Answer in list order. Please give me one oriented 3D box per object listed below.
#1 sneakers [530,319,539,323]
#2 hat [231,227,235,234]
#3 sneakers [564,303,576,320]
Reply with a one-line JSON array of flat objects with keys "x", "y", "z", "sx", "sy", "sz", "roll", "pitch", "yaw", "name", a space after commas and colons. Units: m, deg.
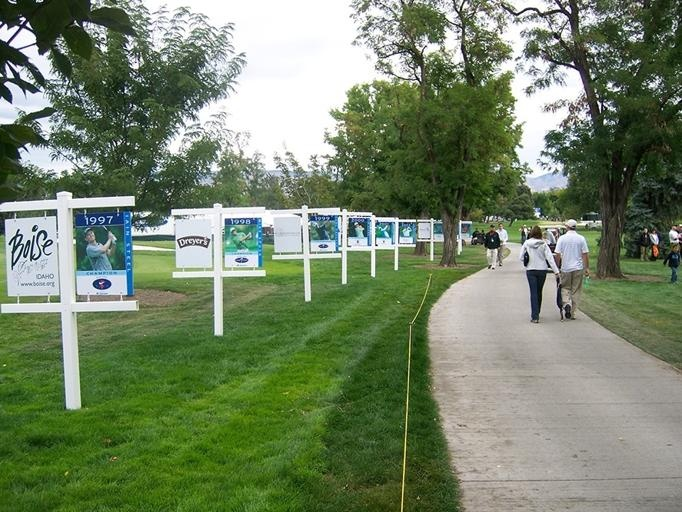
[{"x": 4.485, "y": 1.519, "z": 15.819, "sx": 0.070, "sy": 0.089, "sz": 0.201, "roll": -1, "pitch": -8, "yaw": -25, "name": "sneakers"}, {"x": -2.514, "y": -0.571, "z": 15.965, "sx": 0.101, "sy": 0.174, "sz": 0.107, "roll": -3, "pitch": 1, "yaw": 22, "name": "hat"}, {"x": 5.419, "y": 1.317, "z": 16.129, "sx": 0.189, "sy": 0.515, "sz": 0.213, "roll": -5, "pitch": 22, "yaw": 12, "name": "sneakers"}]
